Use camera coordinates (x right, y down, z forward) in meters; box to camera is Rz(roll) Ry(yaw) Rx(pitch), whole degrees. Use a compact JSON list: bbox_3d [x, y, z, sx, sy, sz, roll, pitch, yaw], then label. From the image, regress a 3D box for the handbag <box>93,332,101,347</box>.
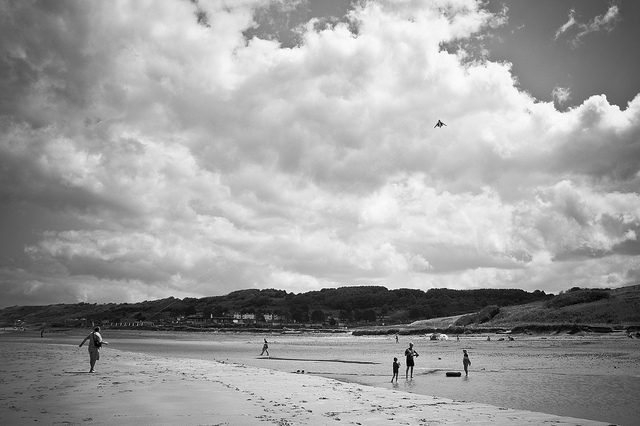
[{"bbox_3d":[-17.300,9.720,36.038,0.516,1.118,0.647,0,-8,-23],"label":"handbag"}]
